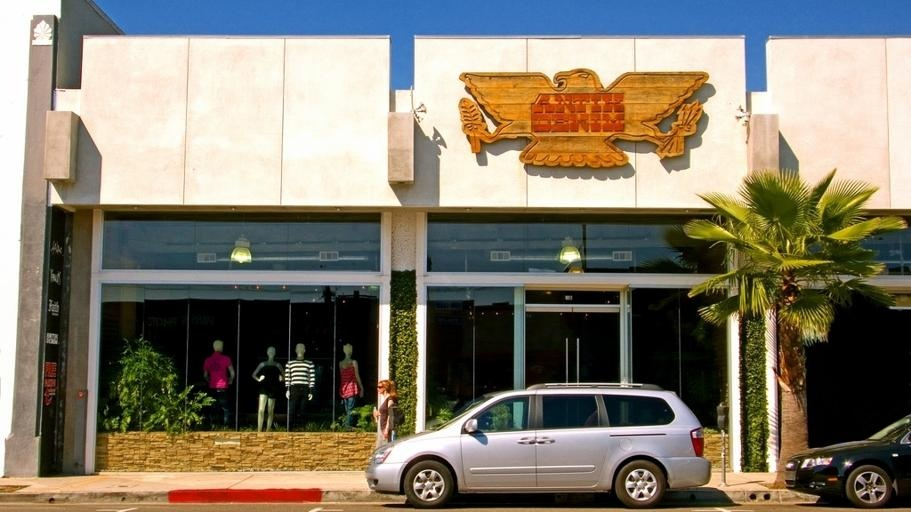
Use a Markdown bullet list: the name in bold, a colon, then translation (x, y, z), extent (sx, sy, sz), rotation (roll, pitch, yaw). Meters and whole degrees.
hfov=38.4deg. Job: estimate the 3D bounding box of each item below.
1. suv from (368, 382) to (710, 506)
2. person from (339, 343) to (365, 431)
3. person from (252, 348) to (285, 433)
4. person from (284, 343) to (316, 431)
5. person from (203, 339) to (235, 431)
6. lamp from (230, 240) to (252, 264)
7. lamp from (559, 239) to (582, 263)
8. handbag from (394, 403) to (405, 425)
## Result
- **suv**: translation (2.231, 4.852, 34.765), extent (8.338, 2.686, 3.461), rotation (1, -11, 0)
- **person**: translation (-3.088, 3.695, 38.044), extent (0.640, 2.371, 0.466), rotation (-6, 11, -20)
- **person**: translation (-5.460, 3.790, 38.056), extent (0.904, 2.359, 0.537), rotation (-4, 10, -9)
- **person**: translation (-4.550, 3.725, 38.064), extent (0.893, 2.401, 0.517), rotation (-3, 10, -6)
- **person**: translation (-6.889, 3.639, 38.052), extent (0.876, 2.433, 0.591), rotation (-4, 10, -7)
- **lamp**: translation (-6.261, -0.119, 38.501), extent (0.669, 0.702, 0.648), rotation (1, -8, -3)
- **lamp**: translation (3.293, -0.169, 38.456), extent (0.721, 0.736, 0.677), rotation (-1, 1, -21)
- **handbag**: translation (-1.636, 4.349, 36.518), extent (0.391, 0.480, 0.439), rotation (-6, -34, -6)
